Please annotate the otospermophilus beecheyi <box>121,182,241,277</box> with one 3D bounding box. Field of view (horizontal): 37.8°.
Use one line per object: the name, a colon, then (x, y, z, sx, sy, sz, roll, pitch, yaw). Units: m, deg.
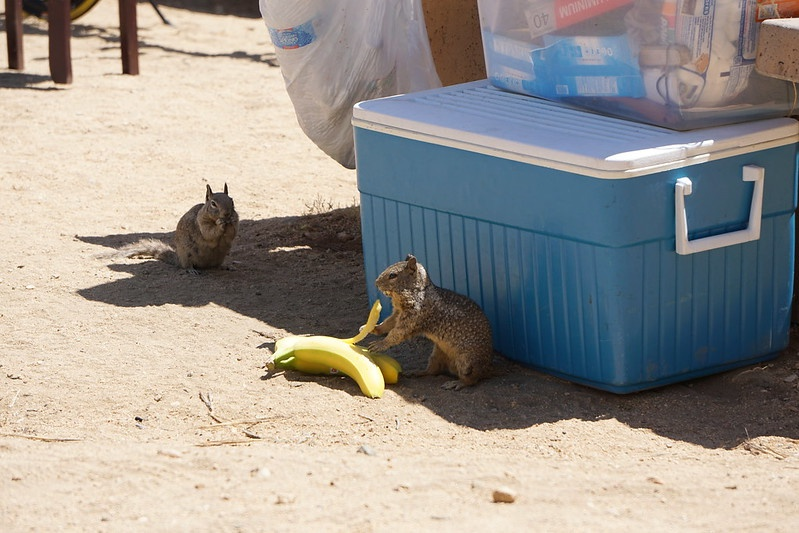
otospermophilus beecheyi: (-1.781, -0.271, 9.585, 0.886, 0.696, 0.465, -6, 25, -9)
